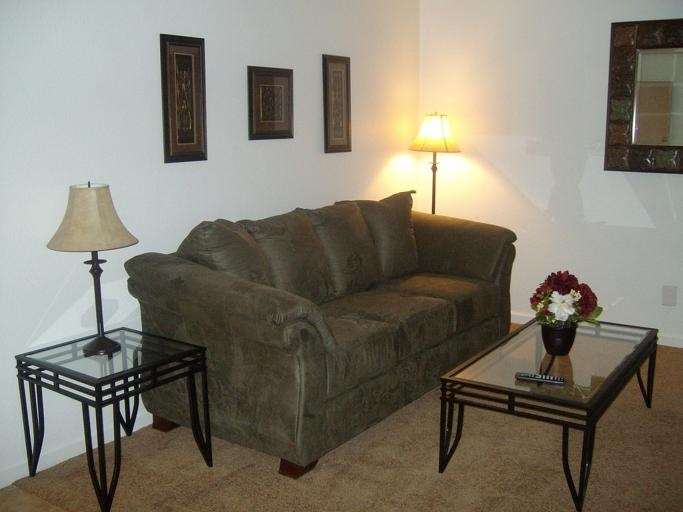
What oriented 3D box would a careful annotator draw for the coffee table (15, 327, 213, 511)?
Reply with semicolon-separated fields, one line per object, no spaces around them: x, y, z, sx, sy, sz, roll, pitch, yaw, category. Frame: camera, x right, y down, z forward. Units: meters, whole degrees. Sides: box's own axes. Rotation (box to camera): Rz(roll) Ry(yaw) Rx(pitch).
-1.198;0.567;2.994;0.829;0.907;0.857;8;13;38;coffee table

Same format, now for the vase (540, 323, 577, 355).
1.255;0.474;3.305;0.204;0.179;0.211;0;6;-11;vase

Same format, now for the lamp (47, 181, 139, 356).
-1.298;0.046;2.938;0.414;0.831;0.336;7;15;30;lamp

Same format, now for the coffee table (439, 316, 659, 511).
1.017;0.633;2.975;0.781;0.560;1.367;6;15;31;coffee table

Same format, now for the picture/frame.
-0.976;-0.962;3.508;0.069;0.747;0.338;9;16;36;picture/frame

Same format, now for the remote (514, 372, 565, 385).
0.995;0.614;2.861;0.164;0.031;0.089;2;5;21;remote

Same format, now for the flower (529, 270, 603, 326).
1.324;0.274;3.315;0.319;0.335;0.322;9;-10;-31;flower
